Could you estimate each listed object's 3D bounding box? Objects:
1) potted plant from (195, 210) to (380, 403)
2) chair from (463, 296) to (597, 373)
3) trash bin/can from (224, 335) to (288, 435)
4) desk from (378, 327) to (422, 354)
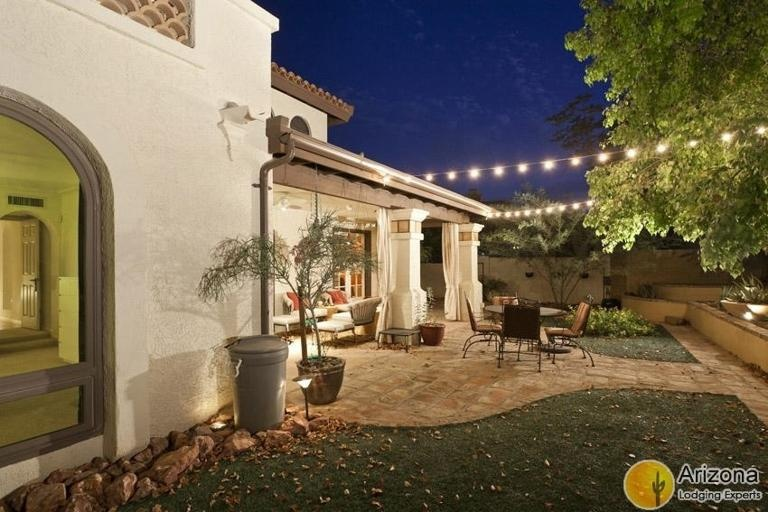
[{"bbox_3d":[-1.597,0.341,7.435,2.622,2.809,2.870,4,4,41],"label":"potted plant"},{"bbox_3d":[2.837,1.433,8.762,1.637,0.763,1.582,1,-4,-5],"label":"chair"},{"bbox_3d":[-1.538,1.633,6.057,0.703,1.017,0.440,-5,15,-18],"label":"trash bin/can"},{"bbox_3d":[0.267,1.641,9.844,0.845,0.472,0.791,2,14,10],"label":"desk"}]
